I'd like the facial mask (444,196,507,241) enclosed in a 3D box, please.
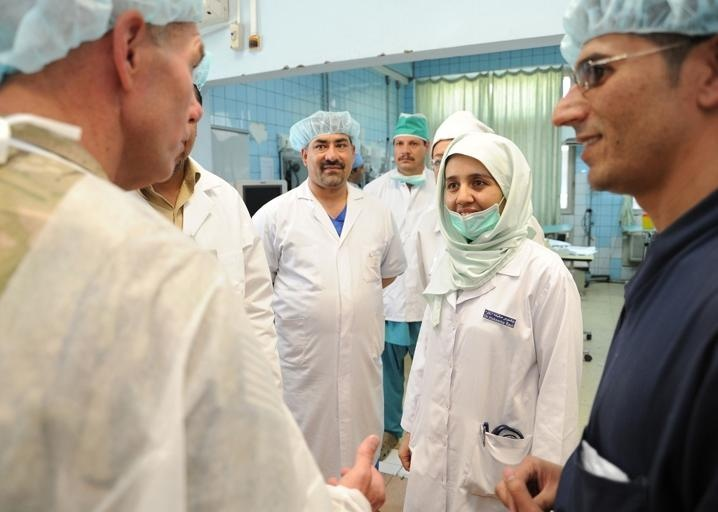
[{"bbox_3d":[0.404,-0.165,2.171,0.185,0.129,0.222,9,47,26],"label":"facial mask"}]

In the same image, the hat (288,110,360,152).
[{"bbox_3d":[-0.178,-0.642,3.179,0.228,0.124,0.249,-13,-9,15],"label":"hat"}]

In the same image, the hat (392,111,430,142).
[{"bbox_3d":[0.364,-0.836,4.115,0.180,0.162,0.209,4,11,14],"label":"hat"}]
